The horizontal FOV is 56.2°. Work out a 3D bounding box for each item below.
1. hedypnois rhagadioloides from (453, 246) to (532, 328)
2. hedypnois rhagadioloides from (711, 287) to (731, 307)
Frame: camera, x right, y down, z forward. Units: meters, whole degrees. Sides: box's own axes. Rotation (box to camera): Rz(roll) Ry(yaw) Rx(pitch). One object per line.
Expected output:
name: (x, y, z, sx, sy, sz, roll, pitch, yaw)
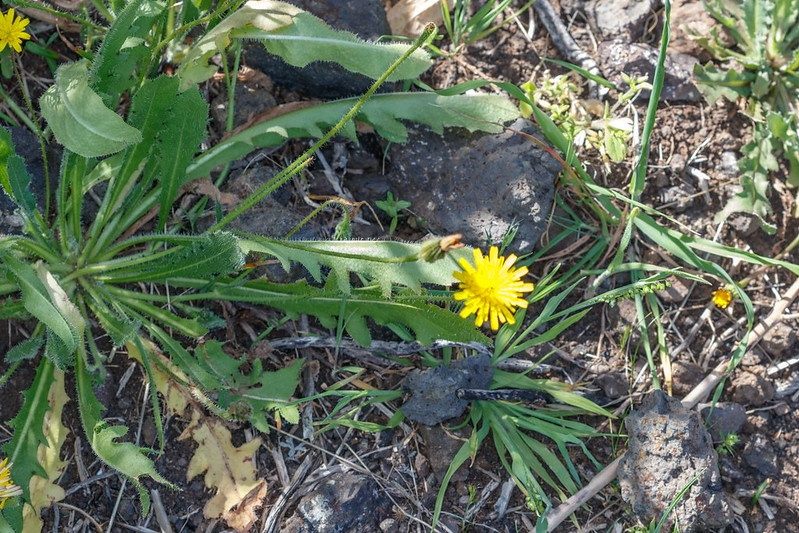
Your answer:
hedypnois rhagadioloides: (0.380, 0.093, 3.285, 0.325, 0.163, 0.388, -2, 88, -2)
hedypnois rhagadioloides: (1.641, 0.153, 3.811, 0.092, 0.026, 0.102, 29, 98, 15)
